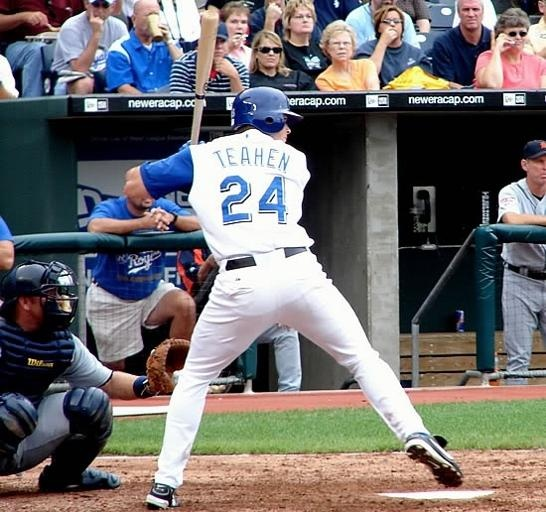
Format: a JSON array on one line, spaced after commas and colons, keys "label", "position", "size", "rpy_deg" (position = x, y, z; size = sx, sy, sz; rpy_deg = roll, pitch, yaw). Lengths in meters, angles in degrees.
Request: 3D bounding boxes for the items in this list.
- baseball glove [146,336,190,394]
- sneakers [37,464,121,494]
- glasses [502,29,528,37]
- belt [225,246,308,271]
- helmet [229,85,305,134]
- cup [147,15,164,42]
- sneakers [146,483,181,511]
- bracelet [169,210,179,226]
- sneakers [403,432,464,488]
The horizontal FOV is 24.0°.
[{"label": "baseball glove", "position": [-0.530, 0.555, 6.468], "size": [0.151, 0.275, 0.225], "rpy_deg": [5, -31, 14]}, {"label": "sneakers", "position": [-0.966, 1.099, 6.471], "size": [0.465, 0.151, 0.139], "rpy_deg": [-2, 4, -11]}, {"label": "glasses", "position": [1.924, -1.732, 10.024], "size": [0.191, 0.055, 0.079], "rpy_deg": [-7, 9, -38]}, {"label": "belt", "position": [-0.029, 0.011, 6.143], "size": [0.391, 0.101, 0.092], "rpy_deg": [-2, 8, -3]}, {"label": "helmet", "position": [-0.030, -0.725, 6.430], "size": [0.362, 0.184, 0.210], "rpy_deg": [-1, 2, -3]}, {"label": "cup", "position": [-0.892, -1.755, 9.848], "size": [0.108, 0.203, 0.196], "rpy_deg": [-3, 8, -5]}, {"label": "sneakers", "position": [-0.516, 1.131, 6.064], "size": [0.152, 0.119, 0.089], "rpy_deg": [-3, 8, -8]}, {"label": "bracelet", "position": [-0.628, -0.248, 8.217], "size": [0.059, 0.070, 0.082], "rpy_deg": [9, -14, -7]}, {"label": "sneakers", "position": [0.780, 1.001, 6.248], "size": [0.319, 0.114, 0.165], "rpy_deg": [40, 25, 8]}]
